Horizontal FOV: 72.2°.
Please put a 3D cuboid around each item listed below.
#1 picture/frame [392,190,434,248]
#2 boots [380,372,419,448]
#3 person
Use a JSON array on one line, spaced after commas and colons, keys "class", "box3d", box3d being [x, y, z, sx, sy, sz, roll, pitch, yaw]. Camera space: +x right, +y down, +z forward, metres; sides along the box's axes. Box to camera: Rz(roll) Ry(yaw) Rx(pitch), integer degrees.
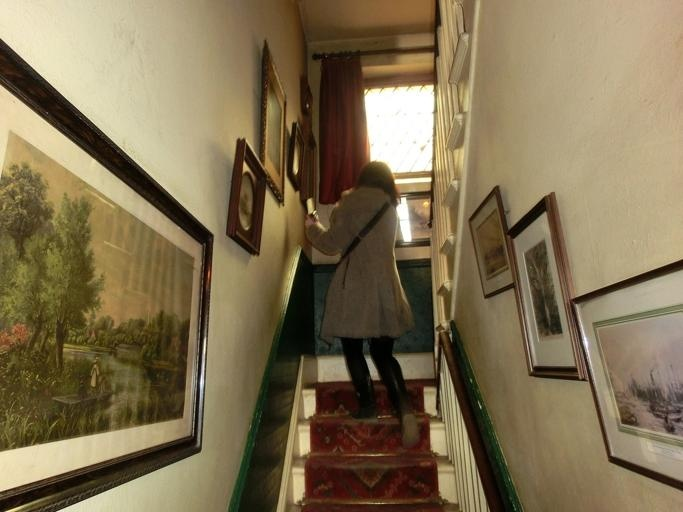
[{"class": "picture/frame", "box3d": [0.790, -0.395, 4.971, 0.365, 0.532, 0.029, -2, 28, 8]}, {"class": "boots", "box3d": [0.364, 0.957, 2.904, 0.201, 0.470, 0.283, -1, -12, -1]}, {"class": "person", "box3d": [0.147, 0.250, 3.127, 0.630, 1.893, 0.344, -4, -12, 10]}]
